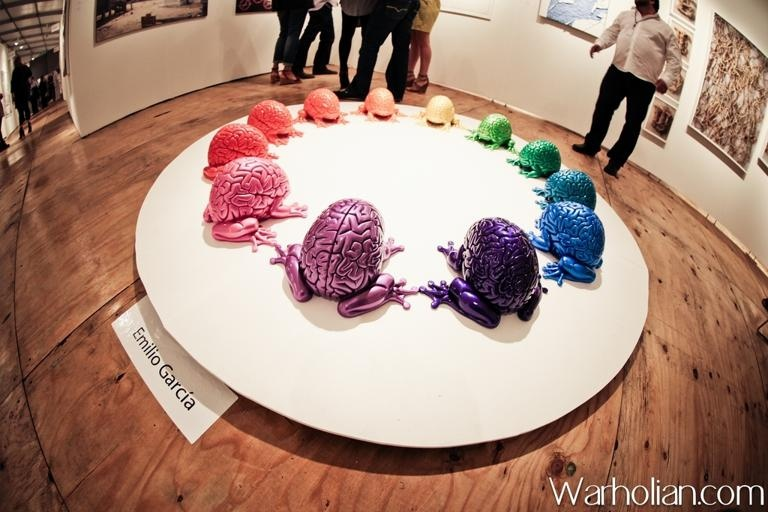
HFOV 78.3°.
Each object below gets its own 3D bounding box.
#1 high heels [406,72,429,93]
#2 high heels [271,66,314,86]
[{"bbox_3d":[0.388,-2.002,5.510,0.167,0.206,0.314,10,42,5],"label":"high heels"},{"bbox_3d":[-1.017,-1.954,5.125,0.406,0.171,0.139,-20,47,-28],"label":"high heels"}]
